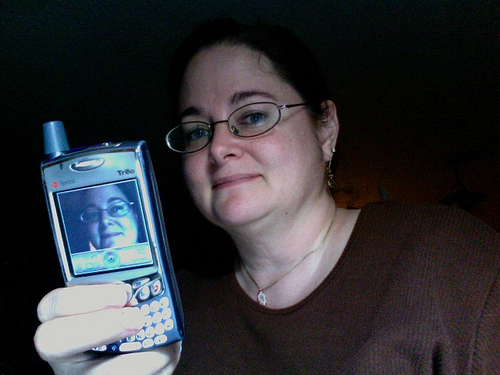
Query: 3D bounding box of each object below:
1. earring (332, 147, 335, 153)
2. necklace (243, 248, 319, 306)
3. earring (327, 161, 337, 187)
[{"bbox_3d":[0.244,-0.112,1.498,0.008,0.015,0.013,-4,5,16],"label":"earring"},{"bbox_3d":[0.085,0.248,1.445,0.228,0.147,0.100,-3,12,10],"label":"necklace"},{"bbox_3d":[0.246,-0.044,1.551,0.020,0.083,0.073,-3,12,13],"label":"earring"}]
